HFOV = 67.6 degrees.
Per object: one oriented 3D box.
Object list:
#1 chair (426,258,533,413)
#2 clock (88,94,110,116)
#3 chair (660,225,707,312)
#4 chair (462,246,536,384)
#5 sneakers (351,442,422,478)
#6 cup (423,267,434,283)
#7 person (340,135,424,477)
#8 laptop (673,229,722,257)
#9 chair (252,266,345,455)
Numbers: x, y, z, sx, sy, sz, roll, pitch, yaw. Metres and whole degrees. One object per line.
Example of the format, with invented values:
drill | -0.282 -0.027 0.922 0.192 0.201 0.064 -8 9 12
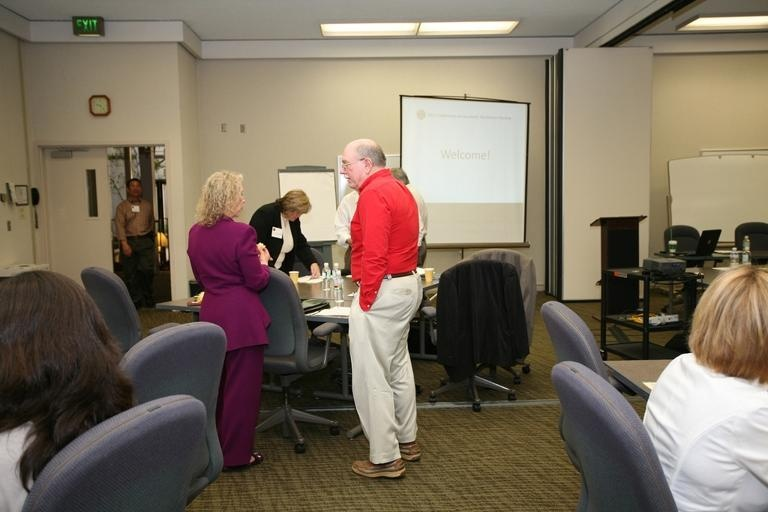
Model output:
chair | 0.701 0.578 4.533 0.720 1.081 0.698 -3 4 -21
clock | -3.801 -2.026 7.666 0.261 0.282 0.036 -1 4 -10
chair | 3.913 0.016 7.523 0.440 0.804 0.485 -4 -7 30
chair | 0.905 0.438 4.683 0.634 0.990 0.517 2 -2 18
sneakers | 0.015 1.292 3.713 0.495 0.247 0.175 2 -2 2
cup | 0.387 0.173 5.005 0.096 0.110 0.100 -1 -7 0
person | 0.010 0.324 3.616 0.449 2.066 0.501 0 11 2
laptop | 3.452 -0.138 6.292 0.379 0.303 0.317 -3 6 -27
chair | -0.698 0.677 4.072 0.704 1.199 0.731 3 3 40
